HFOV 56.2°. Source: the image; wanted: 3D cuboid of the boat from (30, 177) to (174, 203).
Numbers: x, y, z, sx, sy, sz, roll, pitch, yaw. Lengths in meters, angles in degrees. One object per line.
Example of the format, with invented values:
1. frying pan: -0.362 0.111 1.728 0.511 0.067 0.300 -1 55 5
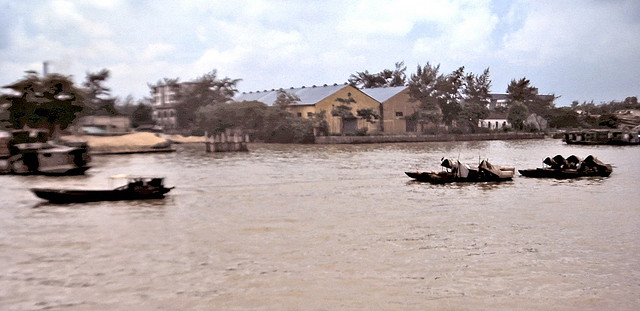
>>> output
1. boat: -12.962 2.164 35.889 7.298 1.113 1.453 -3 0 -22

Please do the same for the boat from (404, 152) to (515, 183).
1. boat: 9.464 1.078 40.633 7.245 1.314 1.559 2 -2 -5

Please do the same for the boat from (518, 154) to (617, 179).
1. boat: 17.418 0.793 42.536 5.786 1.603 1.974 -1 1 -23
